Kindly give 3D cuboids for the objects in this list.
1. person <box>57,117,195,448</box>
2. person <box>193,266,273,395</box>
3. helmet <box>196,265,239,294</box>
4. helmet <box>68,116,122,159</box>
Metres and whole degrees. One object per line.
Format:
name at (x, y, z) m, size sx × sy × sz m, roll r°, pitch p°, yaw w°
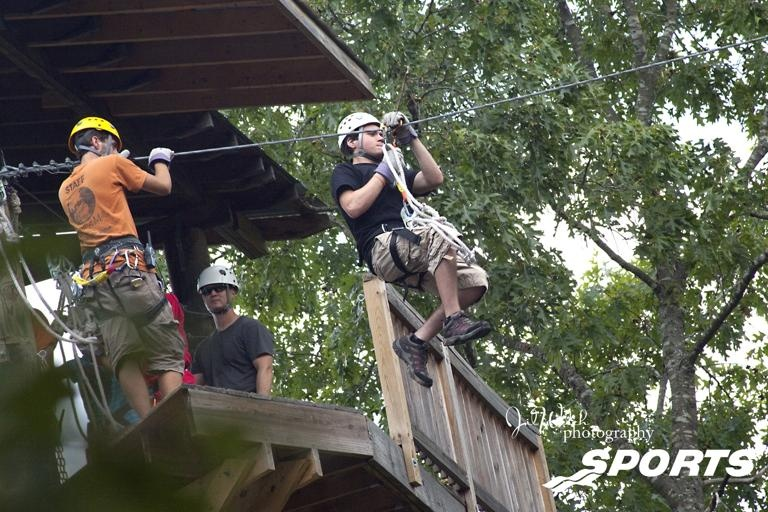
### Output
person at (-3.167, 0.077, 17.101) m, size 1.466 × 3.550 × 0.615 m, roll 3°, pitch -17°, yaw -13°
person at (-1.943, 0.886, 18.426) m, size 1.246 × 1.956 × 0.680 m, roll -14°, pitch -21°, yaw 35°
helmet at (-2.231, 0.286, 19.019) m, size 0.418 × 0.362 × 0.374 m, roll 2°, pitch -9°, yaw -34°
helmet at (-3.565, -1.569, 17.611) m, size 0.598 × 0.369 × 0.482 m, roll 30°, pitch -69°, yaw -35°
